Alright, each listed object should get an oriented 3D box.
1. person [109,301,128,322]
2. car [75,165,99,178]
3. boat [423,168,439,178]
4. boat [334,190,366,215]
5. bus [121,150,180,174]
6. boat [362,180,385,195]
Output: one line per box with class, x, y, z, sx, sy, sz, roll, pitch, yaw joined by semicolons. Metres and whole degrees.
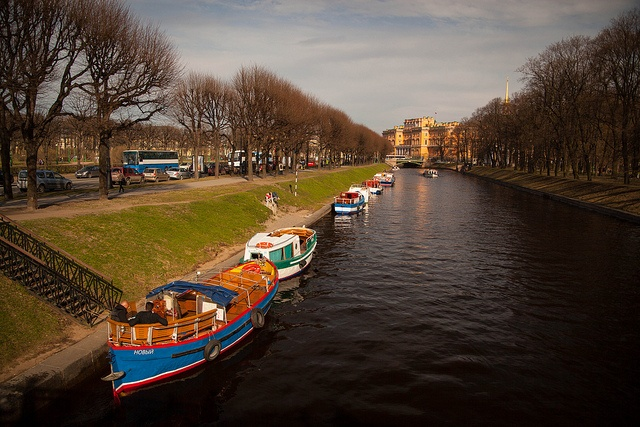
person;-14.110;7.119;40.441;1.692;1.325;0.988;9;10;39
car;-37.966;-6.672;93.635;2.130;1.693;4.963;0;12;1
boat;33.241;-11.755;168.504;2.423;2.080;10.338;0;2;19
boat;4.223;-1.250;81.806;3.083;2.707;5.078;4;13;18
bus;-30.620;-9.717;102.527;3.713;3.587;12.744;0;2;19
boat;10.386;-4.480;109.492;2.825;1.923;4.032;2;9;11
